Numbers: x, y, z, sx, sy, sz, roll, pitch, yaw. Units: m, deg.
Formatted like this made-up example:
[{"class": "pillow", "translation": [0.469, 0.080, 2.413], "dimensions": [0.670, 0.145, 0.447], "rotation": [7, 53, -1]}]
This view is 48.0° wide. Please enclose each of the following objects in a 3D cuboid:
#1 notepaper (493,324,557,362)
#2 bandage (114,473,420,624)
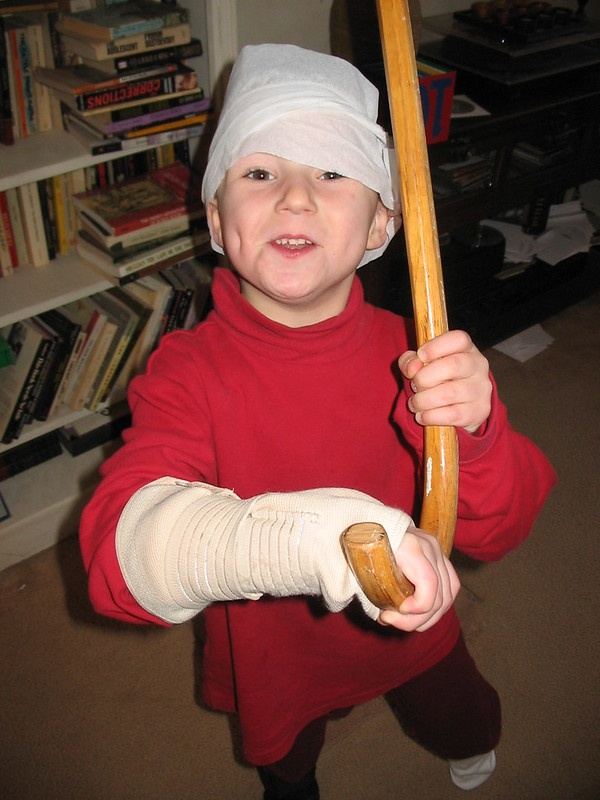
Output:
[{"class": "notepaper", "translation": [0.871, -0.215, 2.591], "dimensions": [0.215, 0.016, 0.145], "rotation": [-28, 54, -29]}, {"class": "bandage", "translation": [-0.027, 0.119, 0.566], "dimensions": [0.197, 0.125, 0.101], "rotation": [-1, -14, 33]}]
